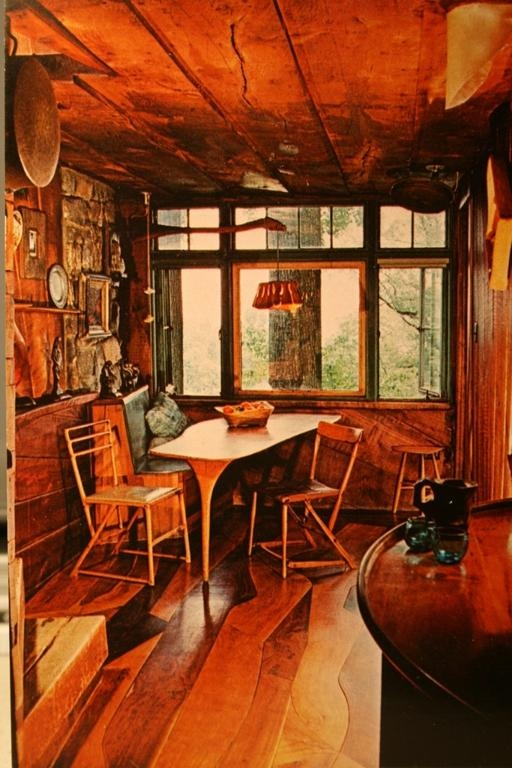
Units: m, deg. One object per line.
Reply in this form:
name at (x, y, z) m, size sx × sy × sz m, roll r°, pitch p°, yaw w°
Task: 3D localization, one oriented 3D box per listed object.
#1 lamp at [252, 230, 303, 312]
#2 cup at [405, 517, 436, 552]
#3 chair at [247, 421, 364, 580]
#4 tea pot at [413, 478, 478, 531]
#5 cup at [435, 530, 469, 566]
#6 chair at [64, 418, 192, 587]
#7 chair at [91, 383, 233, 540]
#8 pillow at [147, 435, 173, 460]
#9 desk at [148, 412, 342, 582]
lamp at (0.156, -0.667, 3.838) m, size 0.254 × 0.523 × 0.279 m, roll 0°, pitch 3°, yaw 6°
cup at (0.425, 0.387, 1.462) m, size 0.067 × 0.071 × 0.071 m, roll 1°, pitch -5°, yaw 0°
chair at (0.307, 0.704, 3.665) m, size 0.677 × 0.905 × 0.729 m, roll 3°, pitch 1°, yaw 27°
tea pot at (0.532, 0.321, 1.564) m, size 0.136 × 0.115 × 0.142 m, roll 0°, pitch 1°, yaw 0°
cup at (0.463, 0.388, 1.343) m, size 0.074 × 0.062 × 0.064 m, roll -5°, pitch 6°, yaw -31°
chair at (-0.825, 0.732, 3.913) m, size 0.845 × 1.395 × 0.825 m, roll 0°, pitch 6°, yaw 17°
chair at (-0.706, 0.533, 4.598) m, size 0.782 × 1.393 × 1.347 m, roll -1°, pitch 7°, yaw 3°
pillow at (-0.736, 0.455, 4.311) m, size 0.198 × 0.069 × 0.221 m, roll 1°, pitch 7°, yaw 12°
desk at (-0.112, 0.721, 3.857) m, size 0.895 × 0.849 × 1.348 m, roll 1°, pitch 3°, yaw 17°
